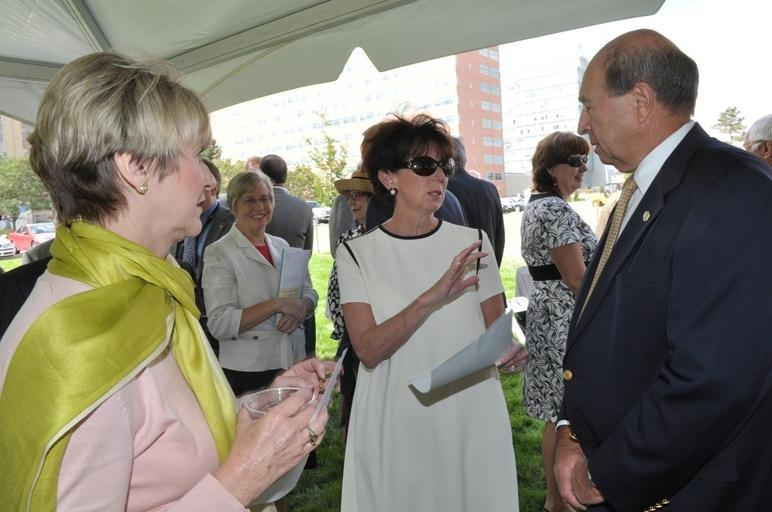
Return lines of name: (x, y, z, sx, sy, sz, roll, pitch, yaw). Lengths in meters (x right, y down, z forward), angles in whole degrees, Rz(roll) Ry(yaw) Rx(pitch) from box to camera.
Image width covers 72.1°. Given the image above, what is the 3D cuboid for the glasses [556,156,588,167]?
glasses: (1.372, -0.693, 3.911, 0.111, 0.045, 0.131, -7, 3, -29)
